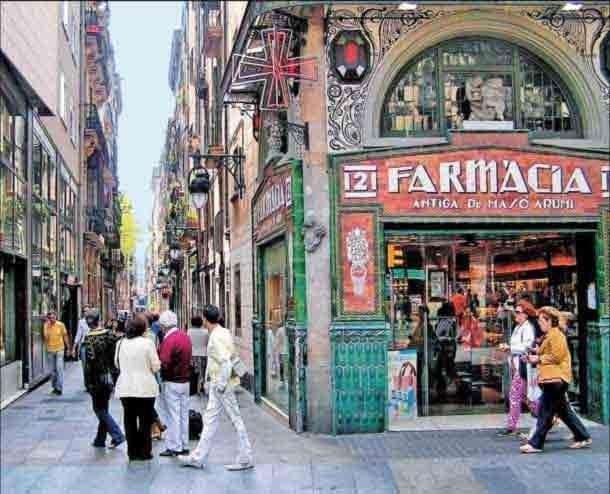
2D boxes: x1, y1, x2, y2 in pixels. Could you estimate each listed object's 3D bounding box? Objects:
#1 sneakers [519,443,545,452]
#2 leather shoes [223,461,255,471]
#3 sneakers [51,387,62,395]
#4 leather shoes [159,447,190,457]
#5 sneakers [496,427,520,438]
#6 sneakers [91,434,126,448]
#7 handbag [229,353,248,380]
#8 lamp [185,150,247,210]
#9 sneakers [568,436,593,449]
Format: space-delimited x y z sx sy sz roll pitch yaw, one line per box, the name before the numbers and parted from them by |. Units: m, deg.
sneakers | 3.327 2.938 10.895 0.332 0.174 0.124 12 -11 4
leather shoes | -0.885 2.999 10.367 0.374 0.179 0.139 7 -6 -8
sneakers | -5.851 3.408 17.616 0.192 0.170 0.182 0 27 -35
leather shoes | -1.965 3.085 11.235 0.427 0.202 0.159 5 -6 -7
sneakers | 3.248 2.923 11.935 0.396 0.205 0.154 3 -4 -3
sneakers | -3.099 3.065 11.752 0.554 0.269 0.220 -5 -3 5
handbag | -0.953 1.705 10.665 0.236 0.303 0.228 2 -6 -17
lamp | -2.207 -1.657 19.025 1.313 1.621 1.475 7 -11 -17
sneakers | 4.132 2.894 11.116 0.385 0.152 0.295 0 -6 5
